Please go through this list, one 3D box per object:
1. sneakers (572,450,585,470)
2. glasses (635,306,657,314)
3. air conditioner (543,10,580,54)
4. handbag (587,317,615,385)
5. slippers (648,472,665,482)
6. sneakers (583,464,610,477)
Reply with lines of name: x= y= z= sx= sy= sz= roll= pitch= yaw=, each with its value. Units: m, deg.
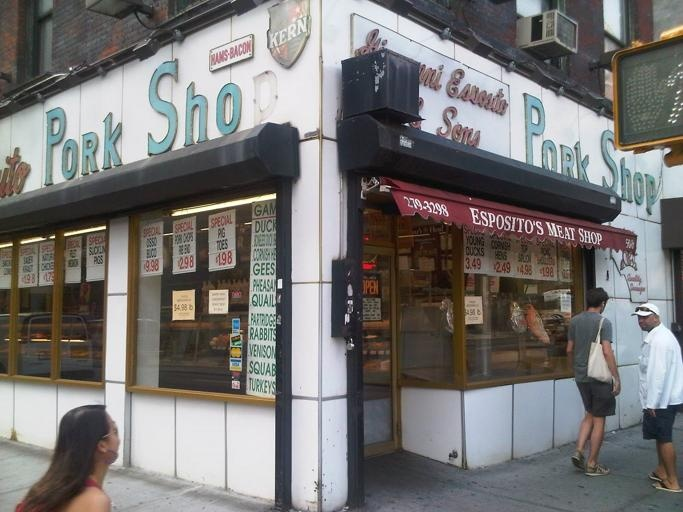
sneakers: x=3.233 y=2.779 z=9.120 sx=0.120 sy=0.140 sz=0.351 roll=-2 pitch=-41 yaw=36
glasses: x=3.959 y=0.698 z=8.687 sx=0.186 sy=0.067 sz=0.125 roll=2 pitch=-11 yaw=-33
air conditioner: x=3.610 y=-3.681 z=11.170 sx=0.685 sy=0.540 sz=0.331 roll=9 pitch=-7 yaw=-36
handbag: x=3.499 y=1.284 z=9.068 sx=0.304 sy=0.861 sz=0.231 roll=0 pitch=0 yaw=-28
slippers: x=4.094 y=2.882 z=8.711 sx=0.252 sy=0.096 sz=0.140 roll=-4 pitch=-3 yaw=43
sneakers: x=3.456 y=2.879 z=9.067 sx=0.370 sy=0.183 sz=0.142 roll=-2 pitch=-1 yaw=-13
